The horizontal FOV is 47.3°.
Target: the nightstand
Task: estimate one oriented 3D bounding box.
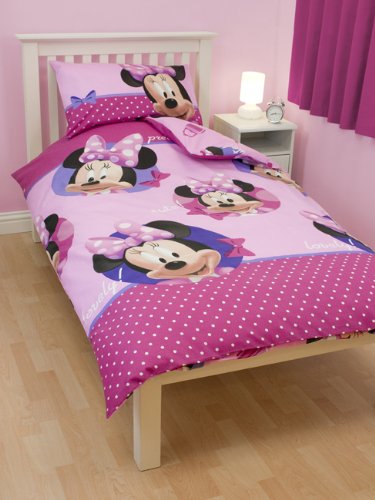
[{"bbox_3d":[0.429,-0.683,2.884,0.479,0.378,0.480,-19,36,-32],"label":"nightstand"}]

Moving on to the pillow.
[{"bbox_3d":[-0.377,-0.781,2.340,1.031,0.422,0.419,-5,24,-19],"label":"pillow"}]
